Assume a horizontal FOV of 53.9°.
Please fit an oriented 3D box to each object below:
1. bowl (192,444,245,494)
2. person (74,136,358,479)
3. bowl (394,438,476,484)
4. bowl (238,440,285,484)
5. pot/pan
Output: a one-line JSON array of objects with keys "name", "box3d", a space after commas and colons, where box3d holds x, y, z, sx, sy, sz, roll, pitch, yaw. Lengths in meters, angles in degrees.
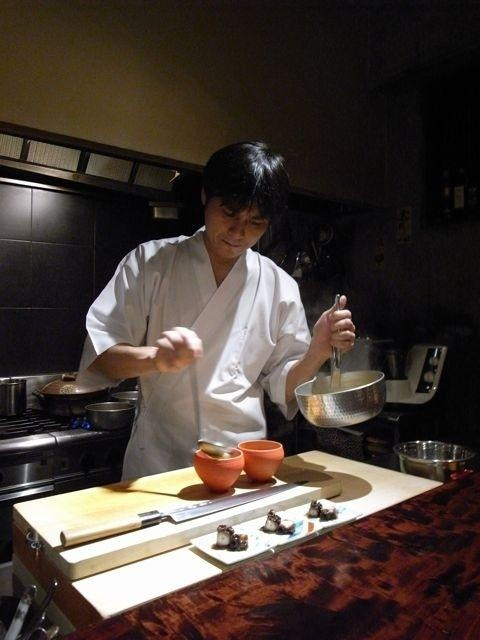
[{"name": "bowl", "box3d": [-0.045, 0.303, 0.976, 0.106, 0.075, 0.106, 0, -6, 0]}, {"name": "person", "box3d": [-0.051, 0.007, 1.250, 0.680, 0.889, 0.488, 2, -1, -26]}, {"name": "bowl", "box3d": [0.514, 0.366, 1.261, 0.215, 0.059, 0.195, 2, -2, -33]}, {"name": "bowl", "box3d": [0.047, 0.323, 1.082, 0.117, 0.076, 0.110, -1, -1, 0]}, {"name": "pot/pan", "box3d": [-0.849, 0.364, 2.383, 0.310, 0.176, 0.352, -1, -1, 34]}]
